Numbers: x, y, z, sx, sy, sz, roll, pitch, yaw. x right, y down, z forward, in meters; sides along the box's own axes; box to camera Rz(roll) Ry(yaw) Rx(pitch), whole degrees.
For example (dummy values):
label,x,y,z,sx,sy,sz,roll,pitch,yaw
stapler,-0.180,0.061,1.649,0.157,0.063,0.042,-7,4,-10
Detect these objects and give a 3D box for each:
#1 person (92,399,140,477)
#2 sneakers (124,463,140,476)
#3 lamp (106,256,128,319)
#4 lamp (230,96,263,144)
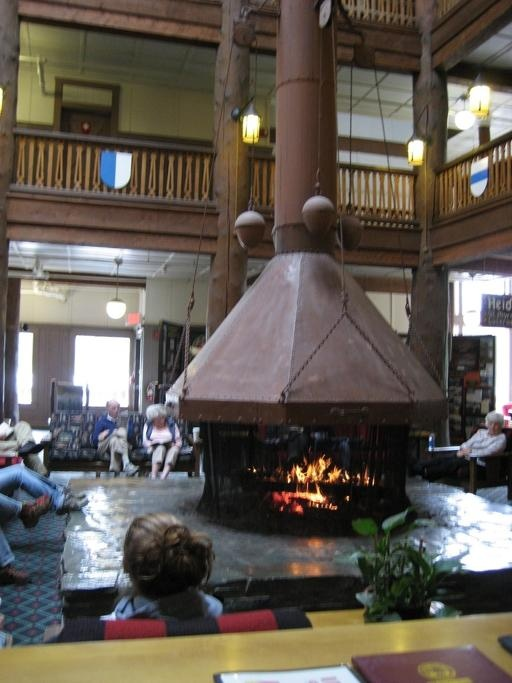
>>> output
label,x,y,z,sx,sy,sz,roll,pitch,yaw
person,-1.554,1.045,6.933,0.284,0.958,0.635,12,-23,-38
sneakers,-1.329,1.383,6.712,0.082,0.122,0.181,1,-3,-6
lamp,-2.356,-0.879,10.677,0.290,1.194,0.414,-2,-21,-3
lamp,-0.107,-2.417,6.945,0.251,0.466,0.189,-1,-6,24
